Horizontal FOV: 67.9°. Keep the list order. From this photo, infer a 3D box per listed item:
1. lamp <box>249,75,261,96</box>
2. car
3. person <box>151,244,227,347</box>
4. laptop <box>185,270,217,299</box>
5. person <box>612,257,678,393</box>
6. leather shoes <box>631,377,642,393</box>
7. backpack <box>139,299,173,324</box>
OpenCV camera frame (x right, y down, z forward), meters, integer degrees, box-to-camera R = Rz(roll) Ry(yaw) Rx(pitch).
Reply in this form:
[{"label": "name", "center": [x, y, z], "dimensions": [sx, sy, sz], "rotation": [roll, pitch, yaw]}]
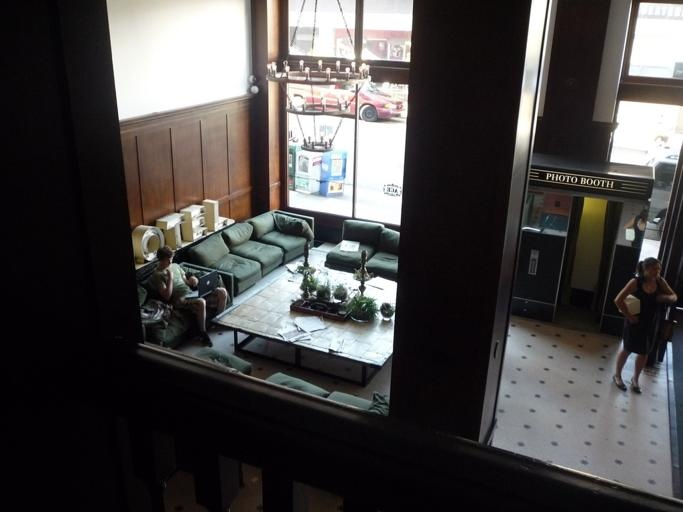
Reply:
[{"label": "lamp", "center": [-1.847, -3.593, 10.623], "dimensions": [0.250, 0.417, 0.267], "rotation": [1, 1, 15]}, {"label": "car", "center": [0.207, -3.073, 10.447], "dimensions": [2.531, 0.839, 1.383], "rotation": [3, 28, 3]}, {"label": "person", "center": [-2.343, 0.539, 7.784], "dimensions": [0.934, 1.514, 0.787], "rotation": [-10, 11, 1]}, {"label": "laptop", "center": [-2.162, 0.439, 7.881], "dimensions": [0.282, 0.365, 0.493], "rotation": [5, 9, 26]}, {"label": "person", "center": [3.979, 0.938, 6.650], "dimensions": [0.649, 1.835, 0.728], "rotation": [1, 1, 33]}, {"label": "leather shoes", "center": [4.088, 1.774, 7.033], "dimensions": [0.085, 0.106, 0.258], "rotation": [-3, 18, -2]}, {"label": "backpack", "center": [-2.677, 0.803, 7.315], "dimensions": [0.418, 0.288, 0.590], "rotation": [0, 1, -21]}]
